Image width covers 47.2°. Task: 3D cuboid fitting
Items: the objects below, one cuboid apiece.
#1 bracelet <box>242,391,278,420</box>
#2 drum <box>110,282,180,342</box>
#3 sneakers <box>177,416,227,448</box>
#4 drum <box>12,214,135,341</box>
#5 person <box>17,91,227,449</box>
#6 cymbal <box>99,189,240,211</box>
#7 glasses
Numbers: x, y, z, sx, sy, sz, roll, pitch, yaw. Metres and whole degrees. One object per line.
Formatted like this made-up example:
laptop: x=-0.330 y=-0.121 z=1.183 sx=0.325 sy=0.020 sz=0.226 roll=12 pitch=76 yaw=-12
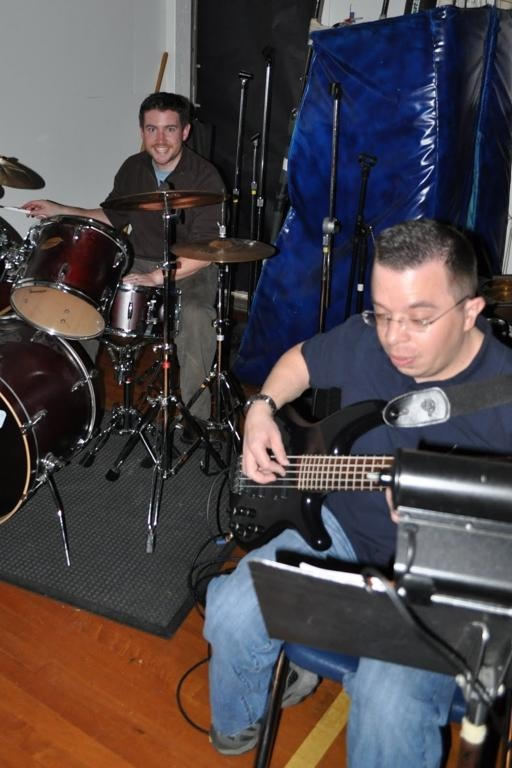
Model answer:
bracelet: x=0.014 y=0.043 z=1.551 sx=0.079 sy=0.080 sz=0.051 roll=-2 pitch=34 yaw=28
drum: x=-0.525 y=-0.304 z=2.596 sx=0.246 sy=0.191 sz=0.230 roll=6 pitch=16 yaw=-2
sneakers: x=-0.279 y=0.262 z=2.978 sx=0.221 sy=0.144 sz=0.087 roll=31 pitch=53 yaw=-10
drum: x=-0.756 y=-0.357 z=2.381 sx=0.453 sy=0.445 sz=0.374 roll=18 pitch=50 yaw=-27
person: x=-0.549 y=-0.652 z=3.077 sx=0.893 sy=1.585 sz=1.071 roll=-16 pitch=32 yaw=-38
cymbal: x=-0.374 y=-0.733 z=2.342 sx=0.425 sy=0.102 sz=0.335 roll=19 pitch=24 yaw=36
glasses: x=0.301 y=-0.123 z=1.096 sx=0.097 sy=0.027 sz=0.098 roll=-20 pitch=2 yaw=-6
